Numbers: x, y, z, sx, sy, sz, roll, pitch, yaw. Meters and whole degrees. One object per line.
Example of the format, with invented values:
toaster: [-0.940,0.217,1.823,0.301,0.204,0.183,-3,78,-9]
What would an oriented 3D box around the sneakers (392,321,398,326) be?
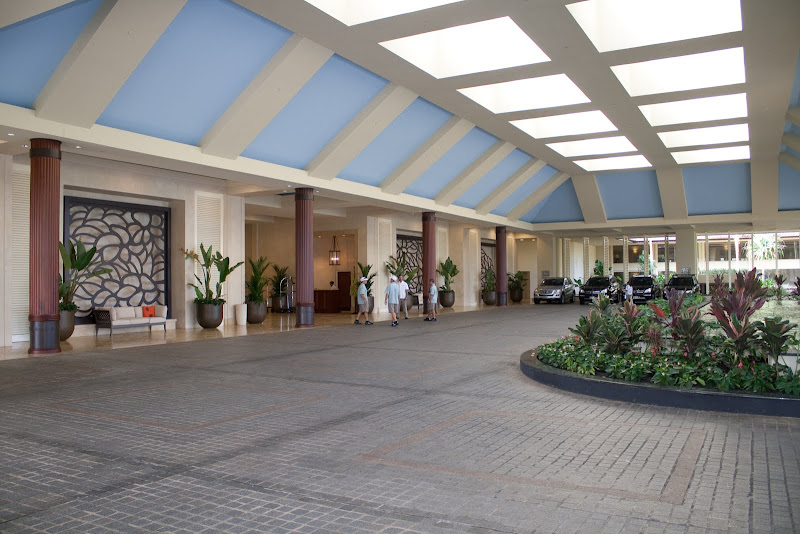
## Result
sneakers: [-0.203,2.324,19.540,0.117,0.216,0.316,2,-10,-22]

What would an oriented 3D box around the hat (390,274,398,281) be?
hat: [-0.314,0.562,24.293,0.329,0.426,0.359,-6,17,7]

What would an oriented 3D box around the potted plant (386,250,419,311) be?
potted plant: [0.270,0.879,28.190,2.190,3.078,3.150,-4,-3,-6]

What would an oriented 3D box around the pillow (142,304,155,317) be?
pillow: [-8.896,1.560,17.039,0.368,0.378,0.369,-2,4,-31]

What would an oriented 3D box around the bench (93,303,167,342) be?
bench: [-9.147,1.793,16.428,0.794,1.001,2.326,1,-3,18]

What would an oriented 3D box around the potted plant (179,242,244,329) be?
potted plant: [-7.739,0.874,19.112,2.999,3.307,2.714,1,-8,-7]

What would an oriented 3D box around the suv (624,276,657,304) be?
suv: [14.245,1.381,28.514,1.449,1.333,2.600,-4,-5,32]

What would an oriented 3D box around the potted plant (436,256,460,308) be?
potted plant: [2.972,0.904,30.246,1.213,3.232,2.122,-2,-3,5]

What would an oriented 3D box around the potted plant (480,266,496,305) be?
potted plant: [6.099,1.346,33.220,1.041,2.502,1.138,-2,-3,8]

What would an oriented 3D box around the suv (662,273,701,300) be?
suv: [14.518,0.975,24.749,1.354,1.291,2.582,-3,-6,32]

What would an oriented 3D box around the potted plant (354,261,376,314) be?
potted plant: [-1.718,1.145,25.268,1.408,2.667,1.508,1,-1,-11]

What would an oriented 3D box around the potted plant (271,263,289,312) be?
potted plant: [-6.709,1.204,26.860,0.966,2.579,2.032,0,-4,-14]

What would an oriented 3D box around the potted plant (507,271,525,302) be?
potted plant: [8.789,1.674,37.174,1.942,2.705,1.986,1,-7,3]

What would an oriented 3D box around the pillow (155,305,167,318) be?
pillow: [-8.544,1.604,17.194,0.398,0.449,0.400,4,-10,-35]

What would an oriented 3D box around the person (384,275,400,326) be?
person: [-0.262,1.443,19.904,0.483,1.901,1.407,-1,-3,0]

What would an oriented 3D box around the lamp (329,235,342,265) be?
lamp: [-3.942,-0.915,28.951,0.653,1.675,0.325,-1,-3,2]

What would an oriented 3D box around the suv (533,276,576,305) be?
suv: [10.896,1.612,33.622,1.903,1.869,3.317,-5,-5,42]

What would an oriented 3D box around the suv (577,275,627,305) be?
suv: [12.066,1.400,28.782,1.558,1.157,2.683,-3,-7,32]
